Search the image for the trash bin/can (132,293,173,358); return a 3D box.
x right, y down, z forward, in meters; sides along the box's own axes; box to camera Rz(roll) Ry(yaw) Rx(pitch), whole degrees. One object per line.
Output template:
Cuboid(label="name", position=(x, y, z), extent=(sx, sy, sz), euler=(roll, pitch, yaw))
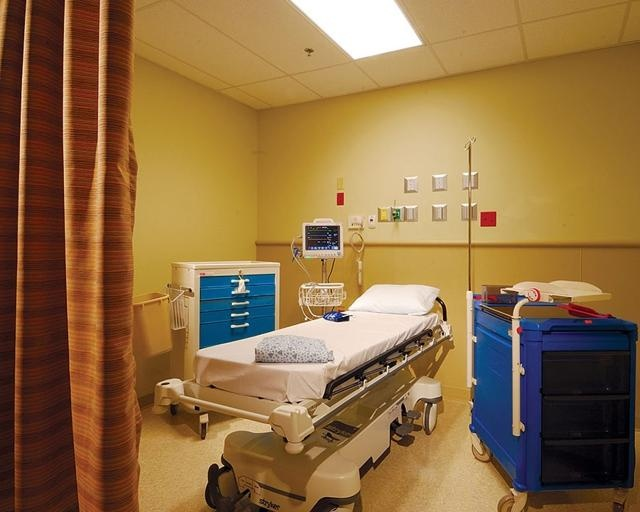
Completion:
Cuboid(label="trash bin/can", position=(-1.171, 0.496, 3.324), extent=(0.324, 0.408, 0.235), euler=(-11, 7, -29))

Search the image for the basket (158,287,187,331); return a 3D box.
Cuboid(label="basket", position=(-1.097, 0.389, 3.530), extent=(0.180, 0.277, 0.185), euler=(1, 21, 32))

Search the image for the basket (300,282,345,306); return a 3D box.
Cuboid(label="basket", position=(0.008, 0.307, 3.772), extent=(0.280, 0.142, 0.229), euler=(1, 2, 6))

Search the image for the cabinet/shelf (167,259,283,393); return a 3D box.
Cuboid(label="cabinet/shelf", position=(-0.686, 0.435, 3.931), extent=(0.691, 0.962, 0.392), euler=(-5, 26, -22))
